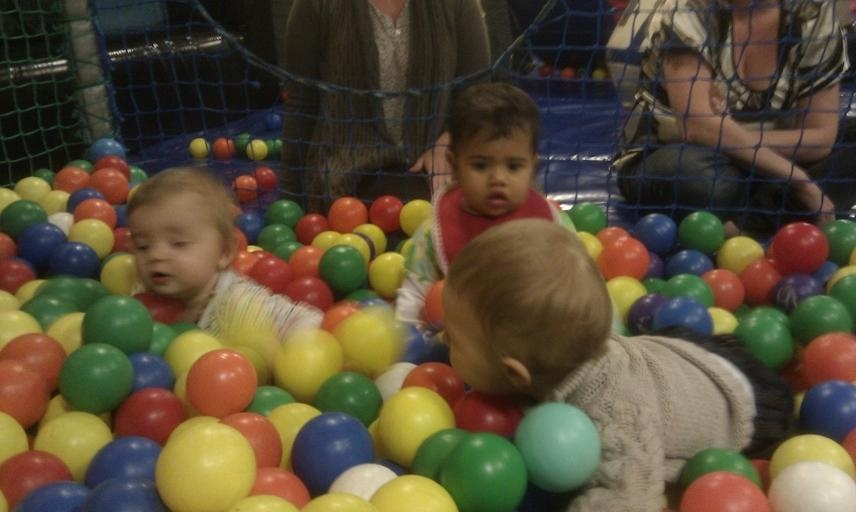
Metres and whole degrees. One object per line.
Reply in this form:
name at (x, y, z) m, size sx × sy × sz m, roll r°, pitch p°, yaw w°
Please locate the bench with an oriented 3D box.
bench at (0.999, -0.663, 4.610) m, size 0.552 × 0.043 × 1.466 m, roll 1°, pitch 31°, yaw 8°
